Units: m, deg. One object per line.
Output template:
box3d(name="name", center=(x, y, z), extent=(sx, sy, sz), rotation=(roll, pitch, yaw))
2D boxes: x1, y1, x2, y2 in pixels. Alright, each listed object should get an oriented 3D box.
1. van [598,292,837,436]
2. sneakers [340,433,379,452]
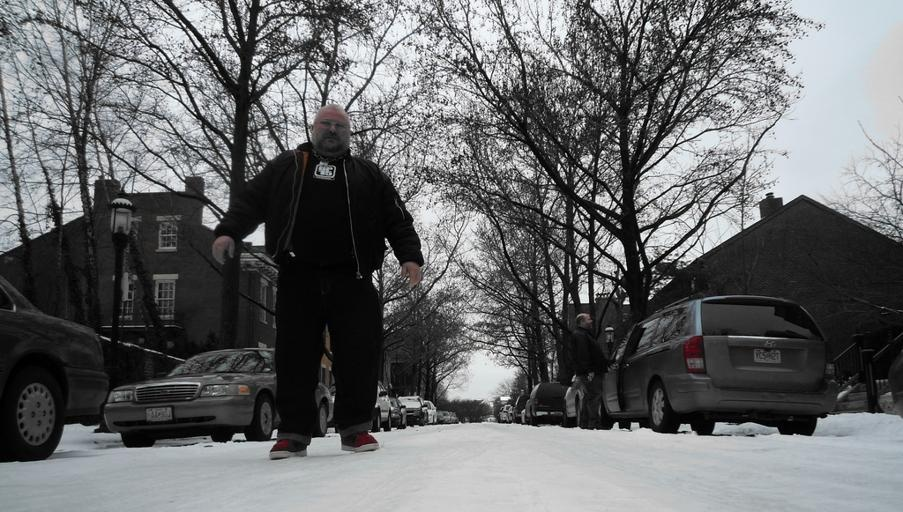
box3d(name="van", center=(4.602, 2.156, 13.667), extent=(2.128, 1.620, 3.805), rotation=(1, -12, -4))
box3d(name="sneakers", center=(-1.052, 2.095, 7.974), extent=(0.444, 0.196, 0.178), rotation=(-10, -16, 30))
